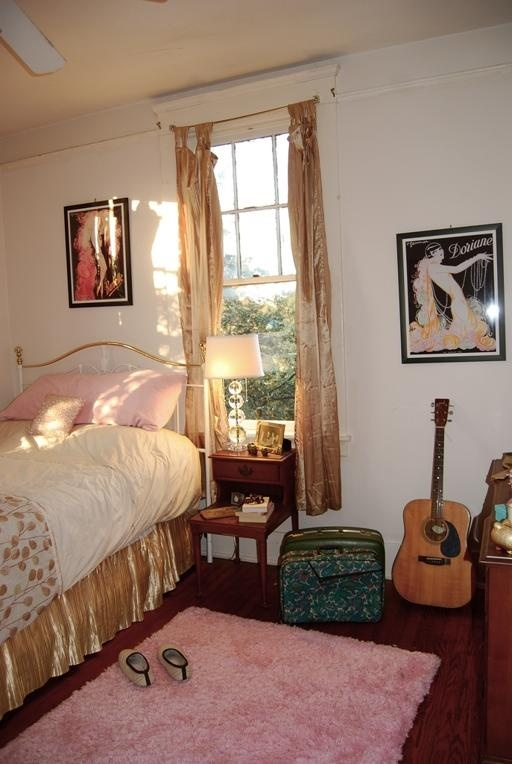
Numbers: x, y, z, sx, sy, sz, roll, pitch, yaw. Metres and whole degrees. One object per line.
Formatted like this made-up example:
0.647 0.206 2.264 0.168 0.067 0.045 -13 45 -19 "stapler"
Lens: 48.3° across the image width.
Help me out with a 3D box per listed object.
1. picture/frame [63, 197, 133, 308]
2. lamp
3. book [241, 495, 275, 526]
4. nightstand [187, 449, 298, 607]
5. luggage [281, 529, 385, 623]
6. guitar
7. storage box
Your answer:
-1.019 -0.859 3.726 0.661 0.828 0.035 4 10 29 "picture/frame"
-0.110 0.024 3.018 0.286 0.624 0.291 15 25 39 "lamp"
-0.014 0.606 2.709 0.141 0.099 0.126 -1 2 18 "book"
-0.046 0.711 2.908 0.497 0.656 0.583 1 5 37 "nightstand"
0.340 0.830 2.599 0.444 0.383 0.364 -4 14 -1 "luggage"
0.803 0.541 2.624 0.344 0.908 0.230 -1 2 20 "guitar"
0.342 0.839 2.599 0.421 0.391 0.343 -1 14 12 "storage box"
